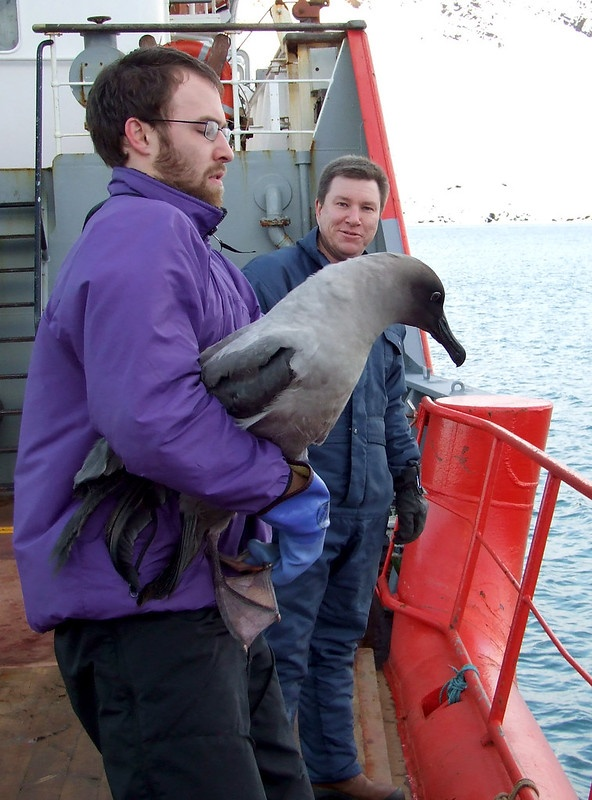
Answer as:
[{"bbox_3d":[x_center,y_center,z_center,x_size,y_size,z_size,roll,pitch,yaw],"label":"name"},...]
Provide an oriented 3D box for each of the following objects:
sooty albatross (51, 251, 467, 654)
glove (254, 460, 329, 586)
[{"bbox_3d":[-0.005,0.066,2.370,1.326,1.166,0.779,11,0,-16],"label":"sooty albatross"},{"bbox_3d":[0.009,0.359,1.915,0.230,0.091,0.236,-32,14,8],"label":"glove"}]
